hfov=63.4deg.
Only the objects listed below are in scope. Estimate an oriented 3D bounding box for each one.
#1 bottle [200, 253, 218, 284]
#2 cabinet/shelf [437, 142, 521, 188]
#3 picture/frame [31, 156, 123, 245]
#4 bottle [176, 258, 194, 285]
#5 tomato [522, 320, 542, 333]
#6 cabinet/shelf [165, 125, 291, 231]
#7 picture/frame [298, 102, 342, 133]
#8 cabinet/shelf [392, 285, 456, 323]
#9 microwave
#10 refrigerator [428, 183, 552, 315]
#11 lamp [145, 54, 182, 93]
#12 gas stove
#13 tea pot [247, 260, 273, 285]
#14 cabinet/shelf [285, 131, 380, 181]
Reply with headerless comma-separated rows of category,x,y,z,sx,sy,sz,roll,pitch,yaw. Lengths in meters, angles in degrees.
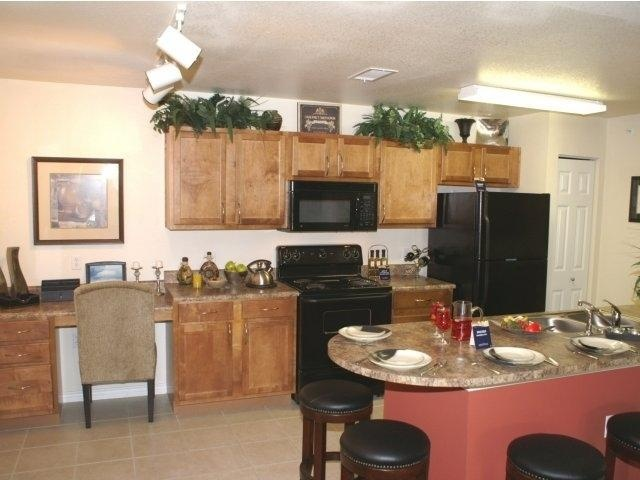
bottle,-1.017,0.259,4.759,0.156,0.240,0.313,-5,13,-26
cabinet/shelf,1.809,-0.819,5.653,0.988,0.409,0.342,12,22,44
picture/frame,-2.228,-0.365,4.653,0.925,0.858,0.070,-1,8,-19
bottle,-1.284,0.280,4.892,0.139,0.262,0.234,-2,12,-14
tomato,1.395,0.572,3.415,0.090,0.081,0.092,-4,6,-44
cabinet/shelf,-0.939,-0.571,4.886,1.255,0.934,0.421,-4,12,-40
picture/frame,-0.030,-1.220,5.216,0.460,0.273,0.059,0,4,-17
cabinet/shelf,1.086,0.770,5.174,0.630,0.524,0.414,-6,-22,26
microwave,0.138,-0.321,4.973,0.910,0.478,0.512,0,2,-20
refrigerator,1.706,0.102,5.204,1.147,1.247,0.691,5,13,17
lamp,-1.136,-1.196,3.717,0.346,0.180,0.181,-24,4,-11
gas stove,0.081,0.280,5.015,0.960,0.348,0.634,-1,11,-14
tea pot,-0.556,0.302,4.833,0.273,0.232,0.215,0,6,-5
cabinet/shelf,0.044,-0.803,5.114,0.967,0.417,0.312,-3,12,-30
